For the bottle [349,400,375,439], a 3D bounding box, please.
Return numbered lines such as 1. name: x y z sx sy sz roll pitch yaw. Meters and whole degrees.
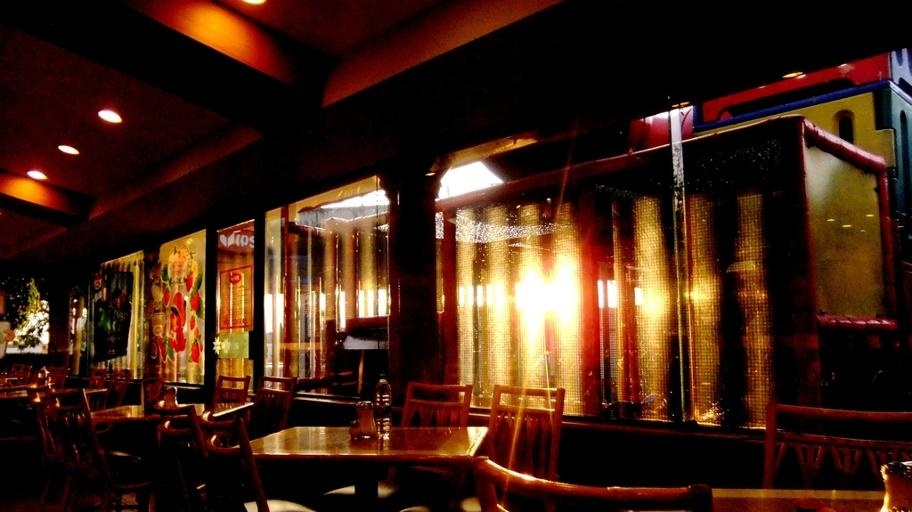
1. bottle: -0.739 1.299 5.588 0.208 0.288 0.180 3 -15 -14
